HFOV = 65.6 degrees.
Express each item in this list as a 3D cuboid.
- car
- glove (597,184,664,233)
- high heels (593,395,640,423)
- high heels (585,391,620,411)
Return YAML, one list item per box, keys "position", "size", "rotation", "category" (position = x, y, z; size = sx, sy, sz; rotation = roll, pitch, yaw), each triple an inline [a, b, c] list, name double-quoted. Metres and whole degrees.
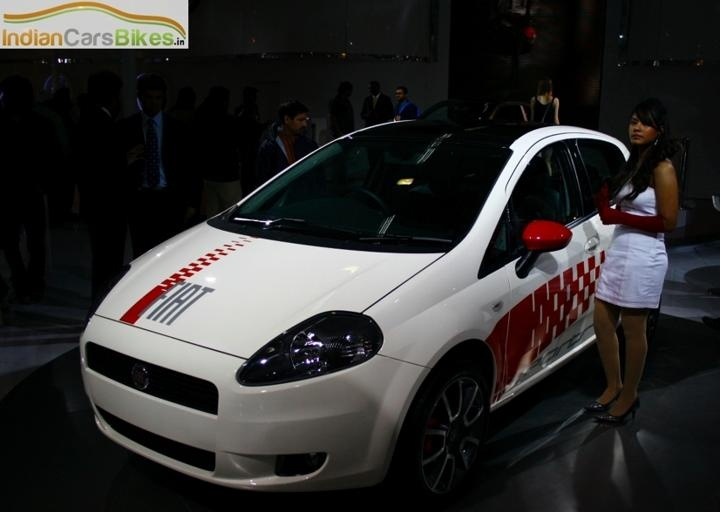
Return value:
- position: [0.250, 0.144, 3.074]
  size: [1.647, 1.339, 2.811]
  rotation: [13, 19, 40]
  category: "car"
- position: [1.556, -0.296, 3.251]
  size: [0.305, 0.175, 0.250]
  rotation: [9, 8, 17]
  category: "glove"
- position: [1.625, 0.966, 3.547]
  size: [0.357, 0.190, 0.127]
  rotation: [0, 2, -17]
  category: "high heels"
- position: [1.560, 0.947, 3.633]
  size: [0.269, 0.130, 0.094]
  rotation: [0, 0, -26]
  category: "high heels"
